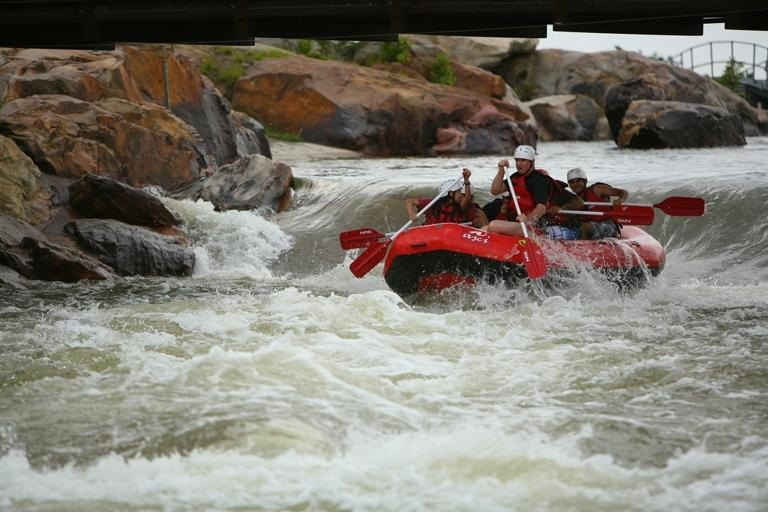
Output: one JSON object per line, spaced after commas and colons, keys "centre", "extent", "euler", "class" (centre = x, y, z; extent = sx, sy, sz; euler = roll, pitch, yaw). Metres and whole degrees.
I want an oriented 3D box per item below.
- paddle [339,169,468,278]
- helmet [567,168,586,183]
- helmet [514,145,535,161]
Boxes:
{"centre": [0.303, -0.528, 14.629], "extent": [2.574, 0.590, 0.225], "euler": [-33, -1, 8], "class": "paddle"}
{"centre": [3.064, -1.253, 13.442], "extent": [0.204, 0.280, 0.209], "euler": [-12, 54, 13], "class": "helmet"}
{"centre": [2.158, -1.558, 12.886], "extent": [0.229, 0.229, 0.308], "euler": [2, -23, 39], "class": "helmet"}
